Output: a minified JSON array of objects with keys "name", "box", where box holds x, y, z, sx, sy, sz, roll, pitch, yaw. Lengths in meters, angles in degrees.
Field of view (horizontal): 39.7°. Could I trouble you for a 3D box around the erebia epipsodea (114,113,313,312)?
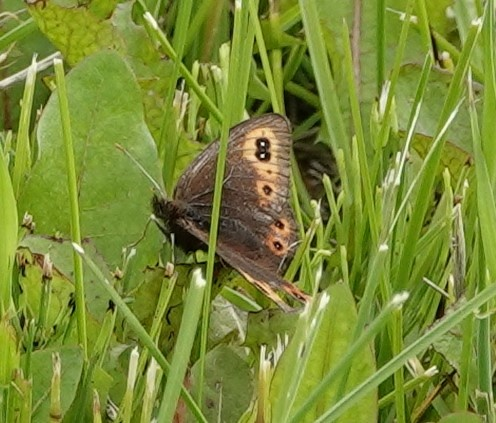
[{"name":"erebia epipsodea","box":[-0.030,-0.021,0.933,0.241,0.233,0.401,8,10,5]}]
